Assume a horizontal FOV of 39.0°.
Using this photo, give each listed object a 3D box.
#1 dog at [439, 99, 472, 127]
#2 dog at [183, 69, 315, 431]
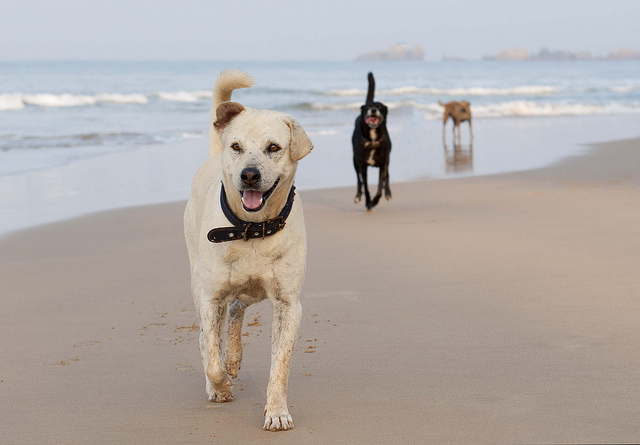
[{"bbox_3d":[4.209,-3.381,27.869,0.449,1.010,2.076,-9,11,-18],"label":"dog"},{"bbox_3d":[-0.840,0.424,9.930,1.500,3.460,0.890,2,5,43],"label":"dog"}]
